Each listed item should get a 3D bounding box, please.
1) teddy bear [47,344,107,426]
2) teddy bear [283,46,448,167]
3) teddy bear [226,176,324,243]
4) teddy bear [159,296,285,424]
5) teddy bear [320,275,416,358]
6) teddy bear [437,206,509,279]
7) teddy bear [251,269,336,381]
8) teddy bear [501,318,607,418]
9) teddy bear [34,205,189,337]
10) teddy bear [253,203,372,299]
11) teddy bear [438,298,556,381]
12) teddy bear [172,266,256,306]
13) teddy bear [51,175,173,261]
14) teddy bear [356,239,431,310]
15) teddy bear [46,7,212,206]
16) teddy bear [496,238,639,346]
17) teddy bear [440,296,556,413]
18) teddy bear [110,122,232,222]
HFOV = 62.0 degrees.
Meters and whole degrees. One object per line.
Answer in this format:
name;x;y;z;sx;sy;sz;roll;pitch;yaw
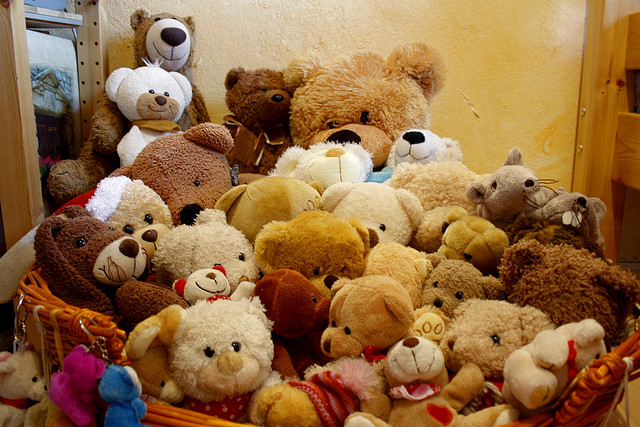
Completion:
teddy bear;-0.553;0.399;1.224;0.121;0.184;0.072;9;17;-14
teddy bear;0.141;-0.342;2.028;0.650;0.586;0.395;1;4;14
teddy bear;-0.149;-0.031;1.544;0.223;0.145;0.201;-2;-3;15
teddy bear;-0.205;0.319;1.356;0.351;0.367;0.244;4;-8;-15
teddy bear;0.117;0.232;1.298;0.193;0.159;0.193;-17;-1;-31
teddy bear;0.438;0.076;1.534;0.176;0.169;0.152;-14;-4;-40
teddy bear;-0.056;0.270;1.492;0.236;0.352;0.263;-5;9;-4
teddy bear;0.513;0.331;1.251;0.258;0.112;0.172;-30;-29;-3
teddy bear;-0.553;0.162;1.437;0.416;0.281;0.267;12;16;12
teddy bear;-0.022;0.088;1.416;0.242;0.246;0.201;3;31;-1
teddy bear;0.429;0.274;1.298;0.204;0.134;0.202;-5;-10;-31
teddy bear;-0.270;0.183;1.364;0.158;0.097;0.102;-17;59;-35
teddy bear;-0.585;0.009;1.554;0.275;0.146;0.246;-1;-18;12
teddy bear;0.207;0.157;1.437;0.175;0.149;0.153;4;3;25
teddy bear;-0.684;-0.369;1.877;0.520;0.638;0.450;13;15;-17
teddy bear;0.606;0.187;1.354;0.249;0.128;0.268;-32;51;-23
teddy bear;0.415;0.354;1.403;0.228;0.329;0.284;18;-22;-22
teddy bear;-0.451;-0.196;1.701;0.358;0.255;0.295;-11;12;-29
